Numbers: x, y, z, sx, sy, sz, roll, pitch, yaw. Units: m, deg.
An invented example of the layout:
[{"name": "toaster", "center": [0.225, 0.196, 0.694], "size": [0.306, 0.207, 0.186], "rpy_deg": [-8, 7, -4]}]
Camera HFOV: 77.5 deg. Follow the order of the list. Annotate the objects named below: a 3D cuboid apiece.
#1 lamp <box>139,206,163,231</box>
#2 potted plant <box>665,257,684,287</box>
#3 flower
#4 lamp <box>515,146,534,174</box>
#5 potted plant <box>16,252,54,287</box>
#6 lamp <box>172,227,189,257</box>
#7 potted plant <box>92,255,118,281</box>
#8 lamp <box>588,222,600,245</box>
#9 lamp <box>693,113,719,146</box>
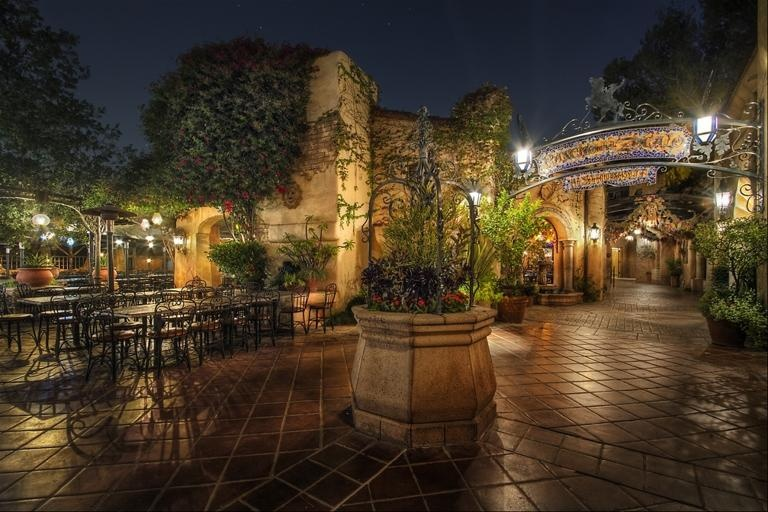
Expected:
[{"name": "lamp", "center": [-8.705, -1.441, 17.859], "size": [1.097, 0.567, 0.648], "rpy_deg": [-5, 5, 35]}, {"name": "potted plant", "center": [16.108, 0.885, 26.638], "size": [0.654, 1.596, 2.790], "rpy_deg": [-2, -1, 28]}, {"name": "flower", "center": [0.534, 0.290, 8.393], "size": [1.164, 0.609, 1.144], "rpy_deg": [-4, 30, -13]}, {"name": "lamp", "center": [3.794, -2.645, 13.144], "size": [0.562, 0.800, 0.573], "rpy_deg": [-3, 4, 7]}, {"name": "potted plant", "center": [-10.817, 0.442, 14.820], "size": [0.955, 1.310, 0.976], "rpy_deg": [-1, -6, 10]}, {"name": "lamp", "center": [-7.544, -0.533, 17.583], "size": [0.748, 1.013, 0.506], "rpy_deg": [-3, -1, 40]}, {"name": "potted plant", "center": [-9.695, 0.422, 16.509], "size": [0.972, 0.961, 0.993], "rpy_deg": [-1, 0, 11]}, {"name": "lamp", "center": [8.165, -0.867, 18.644], "size": [0.442, 0.699, 0.977], "rpy_deg": [-2, -1, 23]}, {"name": "lamp", "center": [7.339, -2.878, 11.003], "size": [0.542, 0.790, 0.560], "rpy_deg": [5, 20, 37]}]
